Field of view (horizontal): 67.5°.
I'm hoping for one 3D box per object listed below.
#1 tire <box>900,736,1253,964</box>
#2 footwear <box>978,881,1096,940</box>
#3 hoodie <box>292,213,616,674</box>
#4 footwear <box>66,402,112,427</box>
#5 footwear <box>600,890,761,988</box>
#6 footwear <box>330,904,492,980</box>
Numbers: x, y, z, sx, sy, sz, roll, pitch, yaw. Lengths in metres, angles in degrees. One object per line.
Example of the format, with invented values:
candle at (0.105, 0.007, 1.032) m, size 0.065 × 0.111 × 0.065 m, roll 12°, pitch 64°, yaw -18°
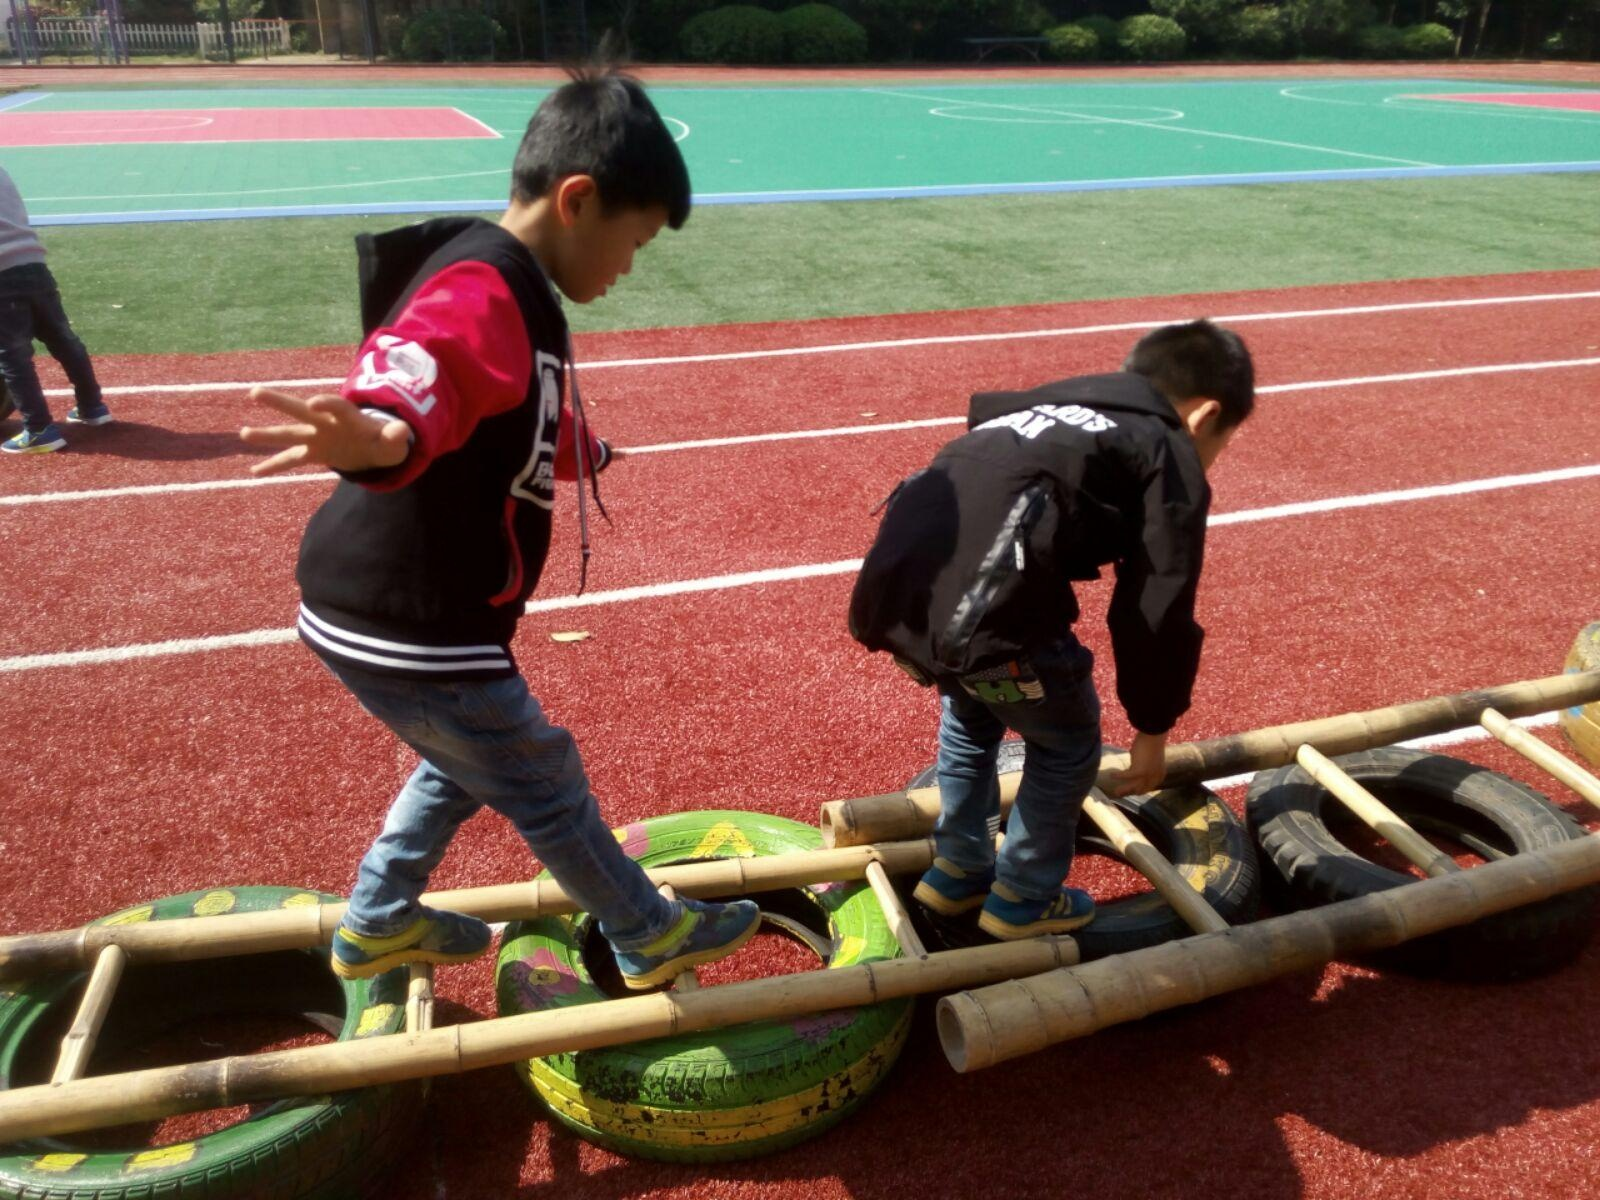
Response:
tire at (1.099, 0.807, 3.937) m, size 0.769 × 0.189 × 0.738 m, roll -16°, pitch 17°, yaw -34°
footwear at (0.716, 0.891, 3.622) m, size 0.372 × 0.164 × 0.148 m, roll -8°, pitch 18°, yaw -21°
hoodie at (-0.847, -0.348, 2.826) m, size 0.516 × 1.015 × 0.672 m, roll 24°, pitch 34°, yaw 36°
footwear at (-4.381, -1.160, 7.433) m, size 0.310 × 0.128 × 0.121 m, roll 5°, pitch 3°, yaw 16°
footwear at (-0.338, 0.911, 3.365) m, size 0.440 × 0.220 × 0.153 m, roll -18°, pitch 21°, yaw -20°
footwear at (-1.071, 0.908, 3.331) m, size 0.466 × 0.181 × 0.160 m, roll -1°, pitch 25°, yaw -32°
